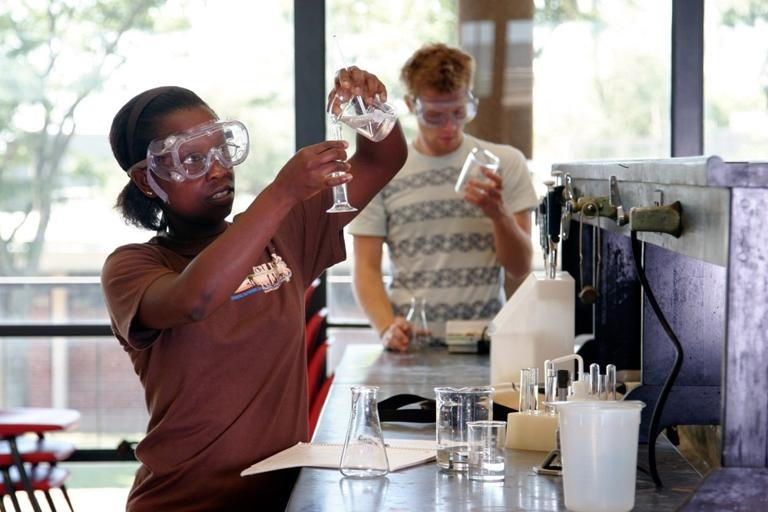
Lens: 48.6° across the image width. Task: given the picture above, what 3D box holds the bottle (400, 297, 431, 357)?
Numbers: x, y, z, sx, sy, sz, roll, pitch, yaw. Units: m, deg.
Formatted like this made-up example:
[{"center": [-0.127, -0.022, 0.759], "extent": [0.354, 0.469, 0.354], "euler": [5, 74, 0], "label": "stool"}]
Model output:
[{"center": [0.096, 0.308, 3.727], "extent": [0.188, 0.279, 0.189], "euler": [0, -2, 0], "label": "bottle"}]

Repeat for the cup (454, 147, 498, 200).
[{"center": [0.377, -0.363, 3.479], "extent": [0.169, 0.169, 0.100], "euler": [-3, 3, 5], "label": "cup"}]

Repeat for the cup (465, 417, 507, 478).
[{"center": [0.284, 0.540, 2.361], "extent": [0.113, 0.163, 0.087], "euler": [-3, 3, 2], "label": "cup"}]

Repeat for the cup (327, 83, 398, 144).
[{"center": [-0.081, -0.431, 2.781], "extent": [0.266, 0.176, 0.159], "euler": [19, 3, -19], "label": "cup"}]

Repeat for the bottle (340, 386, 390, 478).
[{"center": [-0.061, 0.495, 2.408], "extent": [0.142, 0.250, 0.121], "euler": [-4, 3, -9], "label": "bottle"}]
